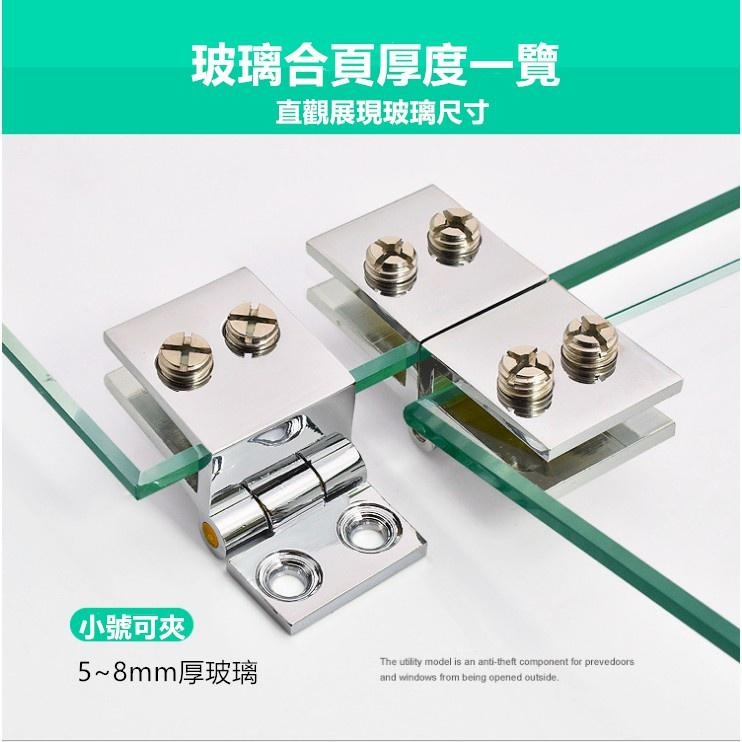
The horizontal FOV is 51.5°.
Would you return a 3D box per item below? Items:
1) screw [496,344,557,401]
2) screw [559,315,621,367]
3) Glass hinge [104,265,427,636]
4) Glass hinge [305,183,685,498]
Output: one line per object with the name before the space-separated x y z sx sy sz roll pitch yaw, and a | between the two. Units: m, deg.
screw | 0.252 0.002 1.230 0.095 0.081 0.032 -7 -44 -2
screw | 0.364 -0.051 1.277 0.048 0.107 0.075 -61 -24 -48
Glass hinge | -0.191 0.114 1.258 0.317 0.578 0.232 -27 -32 -44
Glass hinge | 0.207 -0.060 1.423 0.314 0.627 0.216 -31 -33 -22
